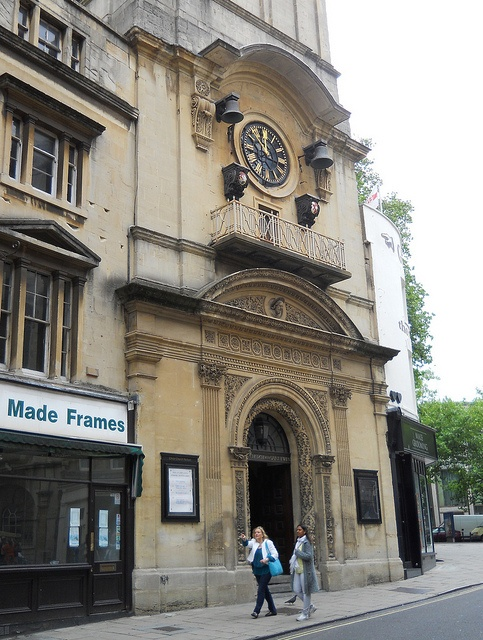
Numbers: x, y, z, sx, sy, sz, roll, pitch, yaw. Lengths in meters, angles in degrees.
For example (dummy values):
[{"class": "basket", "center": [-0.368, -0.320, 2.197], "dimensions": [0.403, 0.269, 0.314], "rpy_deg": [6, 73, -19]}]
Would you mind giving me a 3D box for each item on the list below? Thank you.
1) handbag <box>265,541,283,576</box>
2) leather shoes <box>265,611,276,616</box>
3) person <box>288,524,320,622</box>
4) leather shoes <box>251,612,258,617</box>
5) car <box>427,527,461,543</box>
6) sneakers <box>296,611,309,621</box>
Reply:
[{"class": "handbag", "center": [0.556, 4.322, 12.297], "dimensions": [0.274, 0.622, 0.486], "rpy_deg": [-5, -19, 0]}, {"class": "leather shoes", "center": [0.532, 5.411, 12.436], "dimensions": [0.236, 0.097, 0.085], "rpy_deg": [12, -25, -18]}, {"class": "person", "center": [1.087, 4.486, 12.078], "dimensions": [0.445, 1.586, 0.733], "rpy_deg": [-6, -19, 3]}, {"class": "leather shoes", "center": [0.225, 5.316, 12.174], "dimensions": [0.117, 0.105, 0.226], "rpy_deg": [-4, -18, -2]}, {"class": "car", "center": [15.781, 16.669, 52.514], "dimensions": [1.252, 1.102, 3.427], "rpy_deg": [-1, -19, -11]}, {"class": "sneakers", "center": [1.055, 5.142, 11.702], "dimensions": [0.094, 0.116, 0.279], "rpy_deg": [-15, -30, 30]}]
